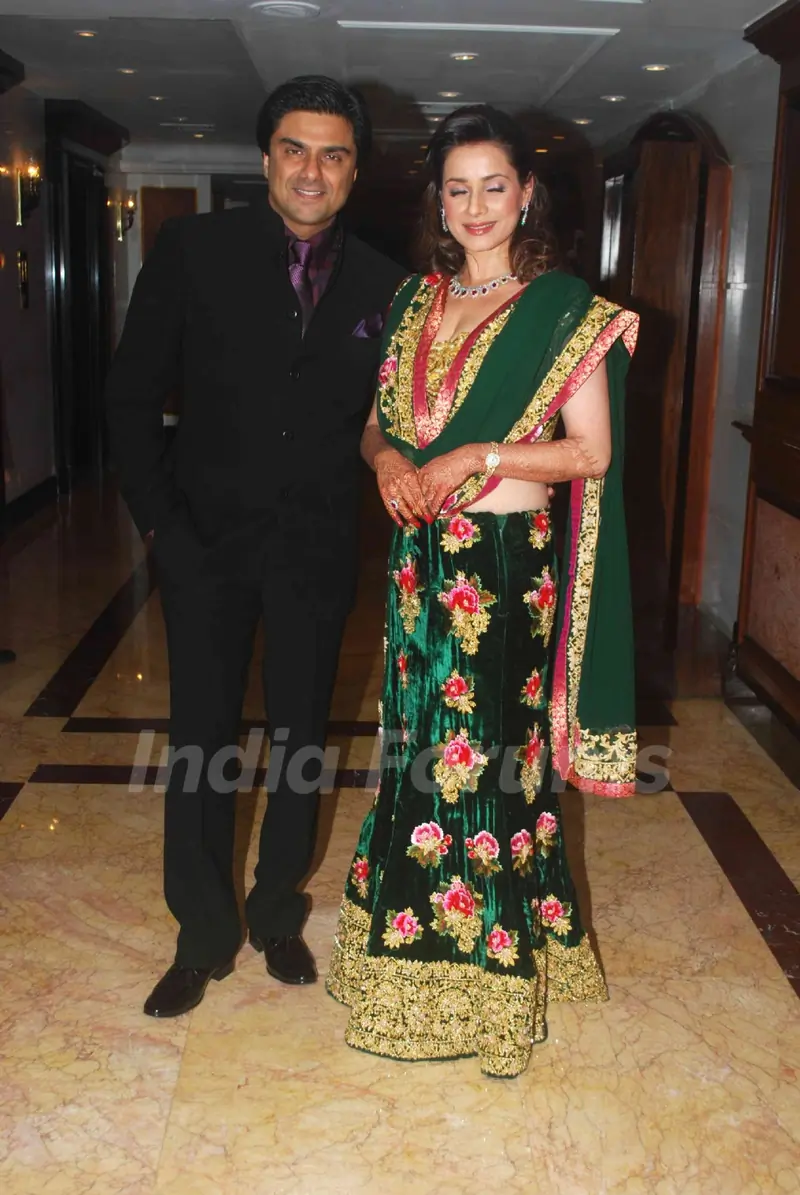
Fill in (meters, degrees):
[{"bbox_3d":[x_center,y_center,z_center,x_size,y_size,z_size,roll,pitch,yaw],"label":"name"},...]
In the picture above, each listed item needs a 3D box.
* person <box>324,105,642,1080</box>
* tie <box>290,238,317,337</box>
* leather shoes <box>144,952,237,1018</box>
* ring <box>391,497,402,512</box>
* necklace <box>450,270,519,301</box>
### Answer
[{"bbox_3d":[0.175,0.024,1.813,0.593,1.703,0.378,0,8,-5],"label":"person"},{"bbox_3d":[-0.178,-0.567,1.786,0.049,0.160,0.023,-1,8,-14],"label":"tie"},{"bbox_3d":[-0.437,0.805,2.044,0.066,0.084,0.178,9,21,34],"label":"leather shoes"},{"bbox_3d":[-0.005,-0.159,1.694,0.017,0.023,0.016,-3,8,0],"label":"ring"},{"bbox_3d":[0.139,-0.545,1.731,0.146,0.045,0.040,8,10,39],"label":"necklace"}]
